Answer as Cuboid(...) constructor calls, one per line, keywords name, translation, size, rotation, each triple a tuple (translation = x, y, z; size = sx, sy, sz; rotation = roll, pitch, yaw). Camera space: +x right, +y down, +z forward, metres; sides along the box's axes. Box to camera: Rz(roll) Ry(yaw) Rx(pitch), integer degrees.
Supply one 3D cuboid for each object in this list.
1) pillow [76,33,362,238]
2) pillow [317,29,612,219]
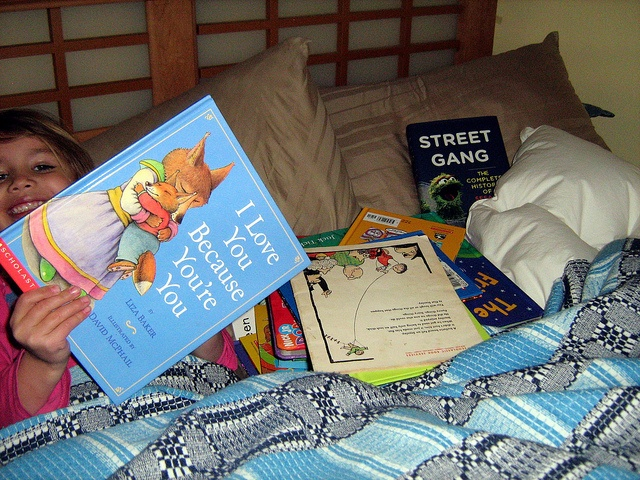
Cuboid(name="pillow", translation=(-0.250, -0.225, 1.334), size=(0.628, 0.552, 0.143), rotation=(-27, 3, -17))
Cuboid(name="pillow", translation=(0.449, -0.401, 1.812), size=(0.802, 0.554, 0.199), rotation=(-13, -17, -9))
